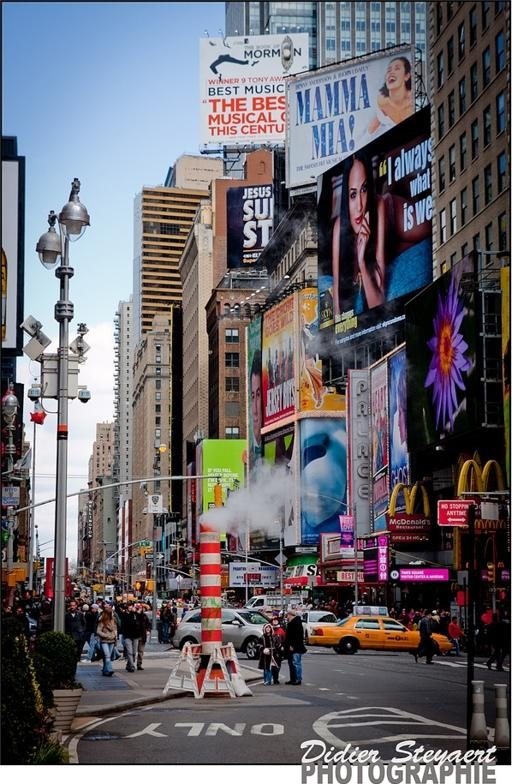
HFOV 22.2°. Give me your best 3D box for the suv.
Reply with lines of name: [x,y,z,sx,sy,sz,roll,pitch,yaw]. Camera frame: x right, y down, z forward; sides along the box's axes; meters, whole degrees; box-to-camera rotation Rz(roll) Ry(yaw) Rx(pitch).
suv: [-0.818,7.597,41.961,3.705,2.436,2.211,-4,-5,7]

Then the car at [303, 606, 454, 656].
car: [4.047,8.484,45.607,4.687,2.009,2.228,-1,-4,3]
